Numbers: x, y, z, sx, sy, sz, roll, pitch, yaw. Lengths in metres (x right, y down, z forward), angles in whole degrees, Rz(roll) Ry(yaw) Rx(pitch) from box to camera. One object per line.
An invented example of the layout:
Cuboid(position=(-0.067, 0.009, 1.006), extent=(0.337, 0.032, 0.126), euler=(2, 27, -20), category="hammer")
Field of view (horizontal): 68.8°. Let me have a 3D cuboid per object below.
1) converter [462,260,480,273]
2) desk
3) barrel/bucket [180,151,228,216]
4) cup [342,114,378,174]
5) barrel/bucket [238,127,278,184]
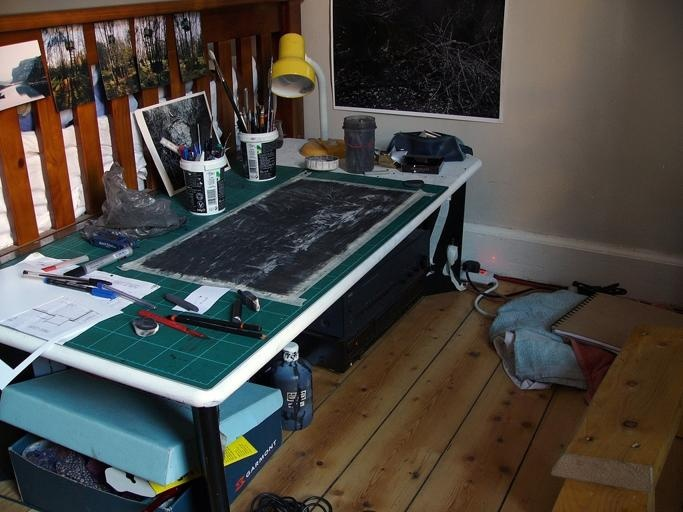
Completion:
Cuboid(position=(0.630, 0.052, 2.452), extent=(0.077, 0.038, 0.057), euler=(6, 28, 18), category="converter")
Cuboid(position=(-0.131, 0.095, 1.492), extent=(0.513, 0.370, 1.373), euler=(14, 32, 30), category="desk")
Cuboid(position=(-0.437, -0.230, 1.589), extent=(0.188, 0.169, 0.189), euler=(-1, 18, 0), category="barrel/bucket")
Cuboid(position=(0.069, -0.422, 1.886), extent=(0.125, 0.192, 0.128), euler=(-3, 24, 1), category="cup")
Cuboid(position=(-0.311, -0.374, 1.832), extent=(0.158, 0.168, 0.160), euler=(2, 19, -1), category="barrel/bucket")
